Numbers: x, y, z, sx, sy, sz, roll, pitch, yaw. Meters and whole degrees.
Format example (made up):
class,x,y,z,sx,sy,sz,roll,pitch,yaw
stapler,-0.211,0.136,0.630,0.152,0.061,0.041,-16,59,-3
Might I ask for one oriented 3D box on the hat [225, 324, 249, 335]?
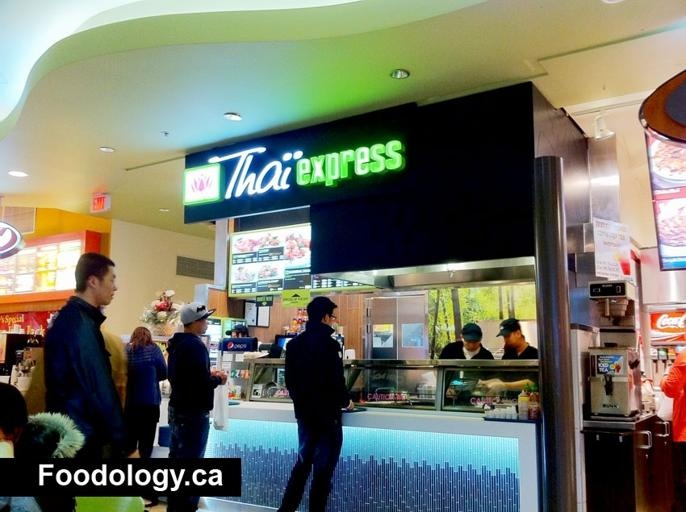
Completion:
class,x,y,z,sx,sy,sz,roll,pitch,yaw
hat,-1.326,0.934,6.884,0.195,0.124,0.184,1,-17,-7

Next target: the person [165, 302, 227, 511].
class,x,y,z,sx,sy,sz,roll,pitch,yaw
person,-1.209,1.216,4.284,0.460,1.706,1.210,-1,-8,-6

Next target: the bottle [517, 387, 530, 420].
class,x,y,z,sx,sy,sz,roll,pitch,yaw
bottle,1.373,1.115,4.123,0.102,0.204,0.175,-5,-8,18

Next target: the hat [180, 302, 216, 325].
class,x,y,z,sx,sy,sz,roll,pitch,yaw
hat,-1.248,0.474,4.614,0.268,0.137,0.167,-16,16,-33

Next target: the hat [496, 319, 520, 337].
class,x,y,z,sx,sy,sz,roll,pitch,yaw
hat,1.662,0.730,5.486,0.226,0.110,0.153,-11,0,-28

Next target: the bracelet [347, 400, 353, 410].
class,x,y,z,sx,sy,sz,roll,pitch,yaw
bracelet,0.058,1.245,4.554,0.033,0.084,0.068,-2,-1,11
